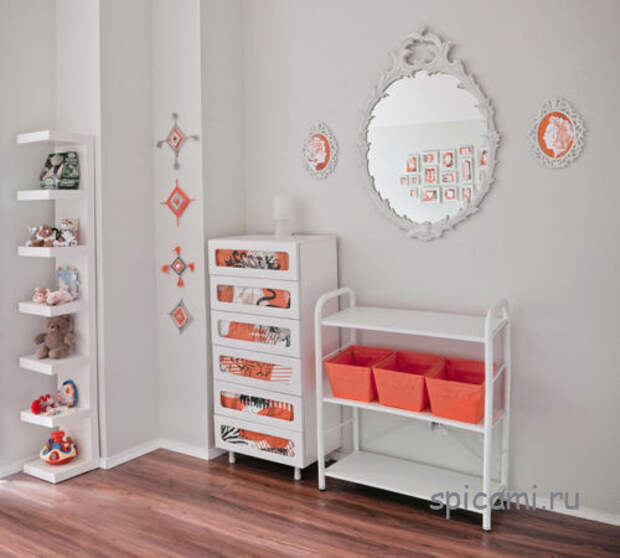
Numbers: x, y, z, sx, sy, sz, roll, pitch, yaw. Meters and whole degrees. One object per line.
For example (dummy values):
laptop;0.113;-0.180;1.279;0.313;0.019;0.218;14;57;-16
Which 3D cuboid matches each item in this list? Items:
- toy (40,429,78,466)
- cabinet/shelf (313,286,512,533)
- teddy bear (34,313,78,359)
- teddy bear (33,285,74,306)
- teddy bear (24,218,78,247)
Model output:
toy;-1.375;0.915;3.310;0.188;0.144;0.186;1;1;39
cabinet/shelf;0.522;0.637;2.893;1.176;1.208;0.475;2;5;33
teddy bear;-1.378;0.312;3.342;0.275;0.264;0.228;0;-2;20
teddy bear;-1.378;0.088;3.222;0.190;0.080;0.228;-9;12;-39
teddy bear;-1.393;-0.231;3.194;0.181;0.116;0.224;0;-1;39
